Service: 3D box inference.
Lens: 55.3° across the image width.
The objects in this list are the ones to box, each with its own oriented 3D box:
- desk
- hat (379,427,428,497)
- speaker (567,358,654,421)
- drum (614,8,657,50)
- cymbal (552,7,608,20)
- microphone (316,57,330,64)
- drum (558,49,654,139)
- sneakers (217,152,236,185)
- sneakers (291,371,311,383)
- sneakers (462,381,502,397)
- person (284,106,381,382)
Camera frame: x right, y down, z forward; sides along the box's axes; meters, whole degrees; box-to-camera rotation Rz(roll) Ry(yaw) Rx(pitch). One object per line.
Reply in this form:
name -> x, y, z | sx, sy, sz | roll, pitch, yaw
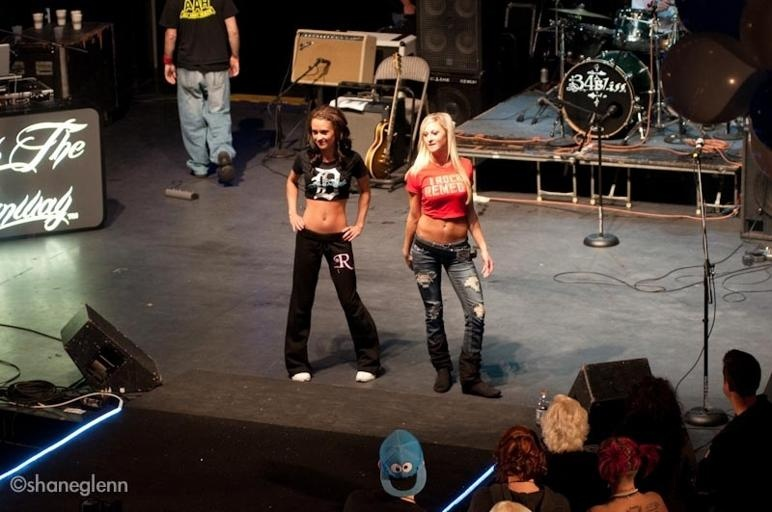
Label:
desk -> -5.666, -3.358, 12.949 | 1.065, 1.519, 1.715 | 12, 18, 25
hat -> 0.075, 1.084, 3.887 | 0.297, 0.328, 0.143 | -5, -28, 2
speaker -> 1.515, 0.843, 5.081 | 0.556, 0.411, 0.387 | -1, 21, -21
drum -> 3.671, -3.387, 11.106 | 0.748, 0.531, 0.691 | 3, 6, 0
cymbal -> 3.225, -3.897, 11.927 | 0.553, 0.098, 0.510 | -5, 19, -38
microphone -> -0.983, -3.073, 11.667 | 0.215, 0.103, 0.080 | 2, 17, -3
drum -> 3.011, -2.208, 10.184 | 1.217, 1.174, 0.871 | 7, 17, 11
sneakers -> -2.310, -1.243, 10.625 | 0.246, 0.501, 0.235 | -5, -27, -8
sneakers -> -0.718, 1.016, 6.201 | 0.152, 0.065, 0.047 | 1, 9, 3
sneakers -> 0.761, 1.069, 5.984 | 0.366, 0.107, 0.121 | -1, 4, 22
person -> -0.402, -0.095, 6.186 | 0.882, 2.281, 0.792 | 2, 18, -7
